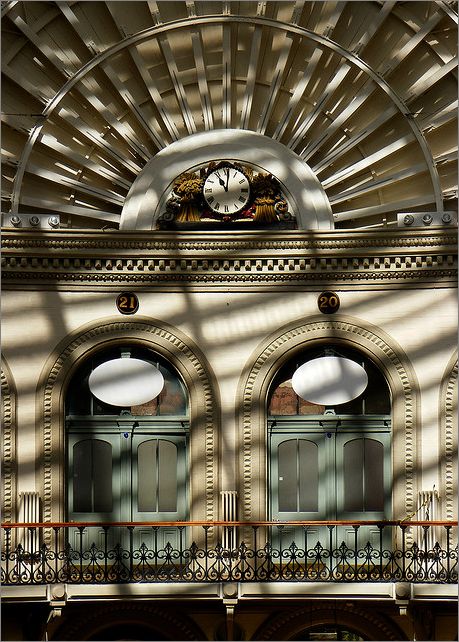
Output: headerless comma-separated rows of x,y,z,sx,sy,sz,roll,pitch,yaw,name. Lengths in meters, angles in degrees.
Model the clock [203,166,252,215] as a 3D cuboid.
-0.029,-1.966,20.291,0.744,0.832,0.093,1,-2,-2,clock
